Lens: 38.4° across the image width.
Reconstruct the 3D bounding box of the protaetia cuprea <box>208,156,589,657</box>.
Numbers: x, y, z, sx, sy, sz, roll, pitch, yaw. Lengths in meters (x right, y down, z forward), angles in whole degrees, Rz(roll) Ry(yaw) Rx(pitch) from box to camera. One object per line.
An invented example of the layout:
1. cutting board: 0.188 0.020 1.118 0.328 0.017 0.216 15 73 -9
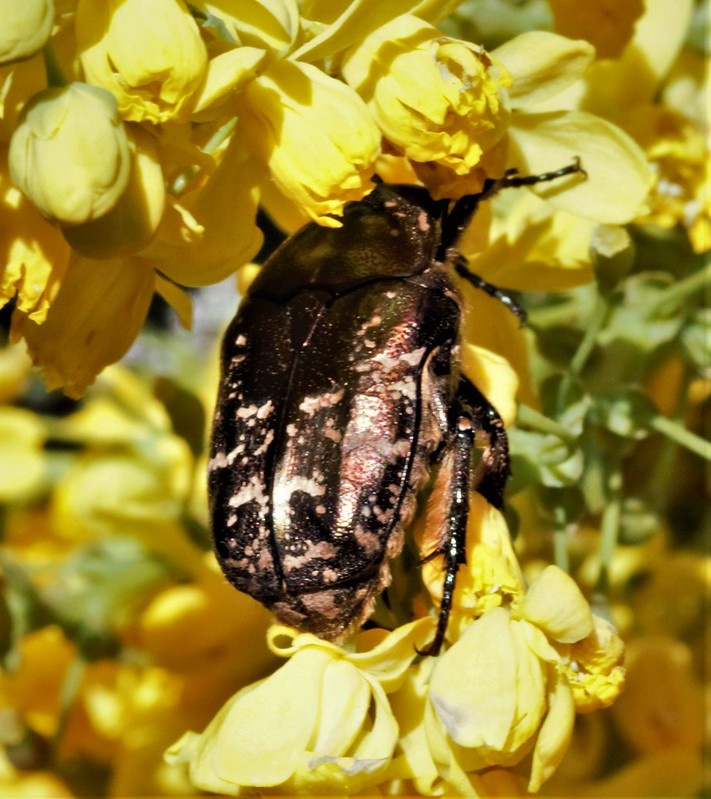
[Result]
1. protaetia cuprea: 0.041 0.007 0.578 0.102 0.201 0.238 5 86 -43
